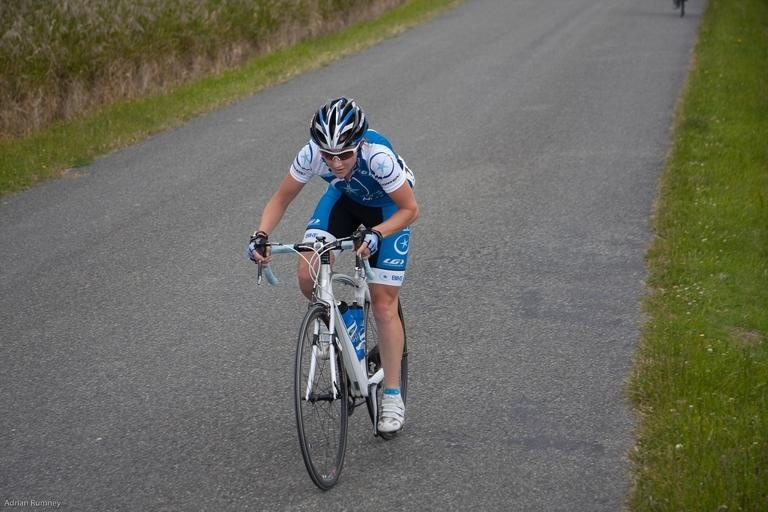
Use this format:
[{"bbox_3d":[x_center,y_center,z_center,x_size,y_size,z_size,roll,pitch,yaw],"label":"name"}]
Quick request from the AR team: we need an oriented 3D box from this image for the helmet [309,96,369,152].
[{"bbox_3d":[-0.357,-1.007,6.181,0.435,0.374,0.335,-9,40,-4],"label":"helmet"}]

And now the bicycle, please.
[{"bbox_3d":[-0.371,0.776,6.405,0.782,1.771,1.483,-8,40,-4],"label":"bicycle"}]
